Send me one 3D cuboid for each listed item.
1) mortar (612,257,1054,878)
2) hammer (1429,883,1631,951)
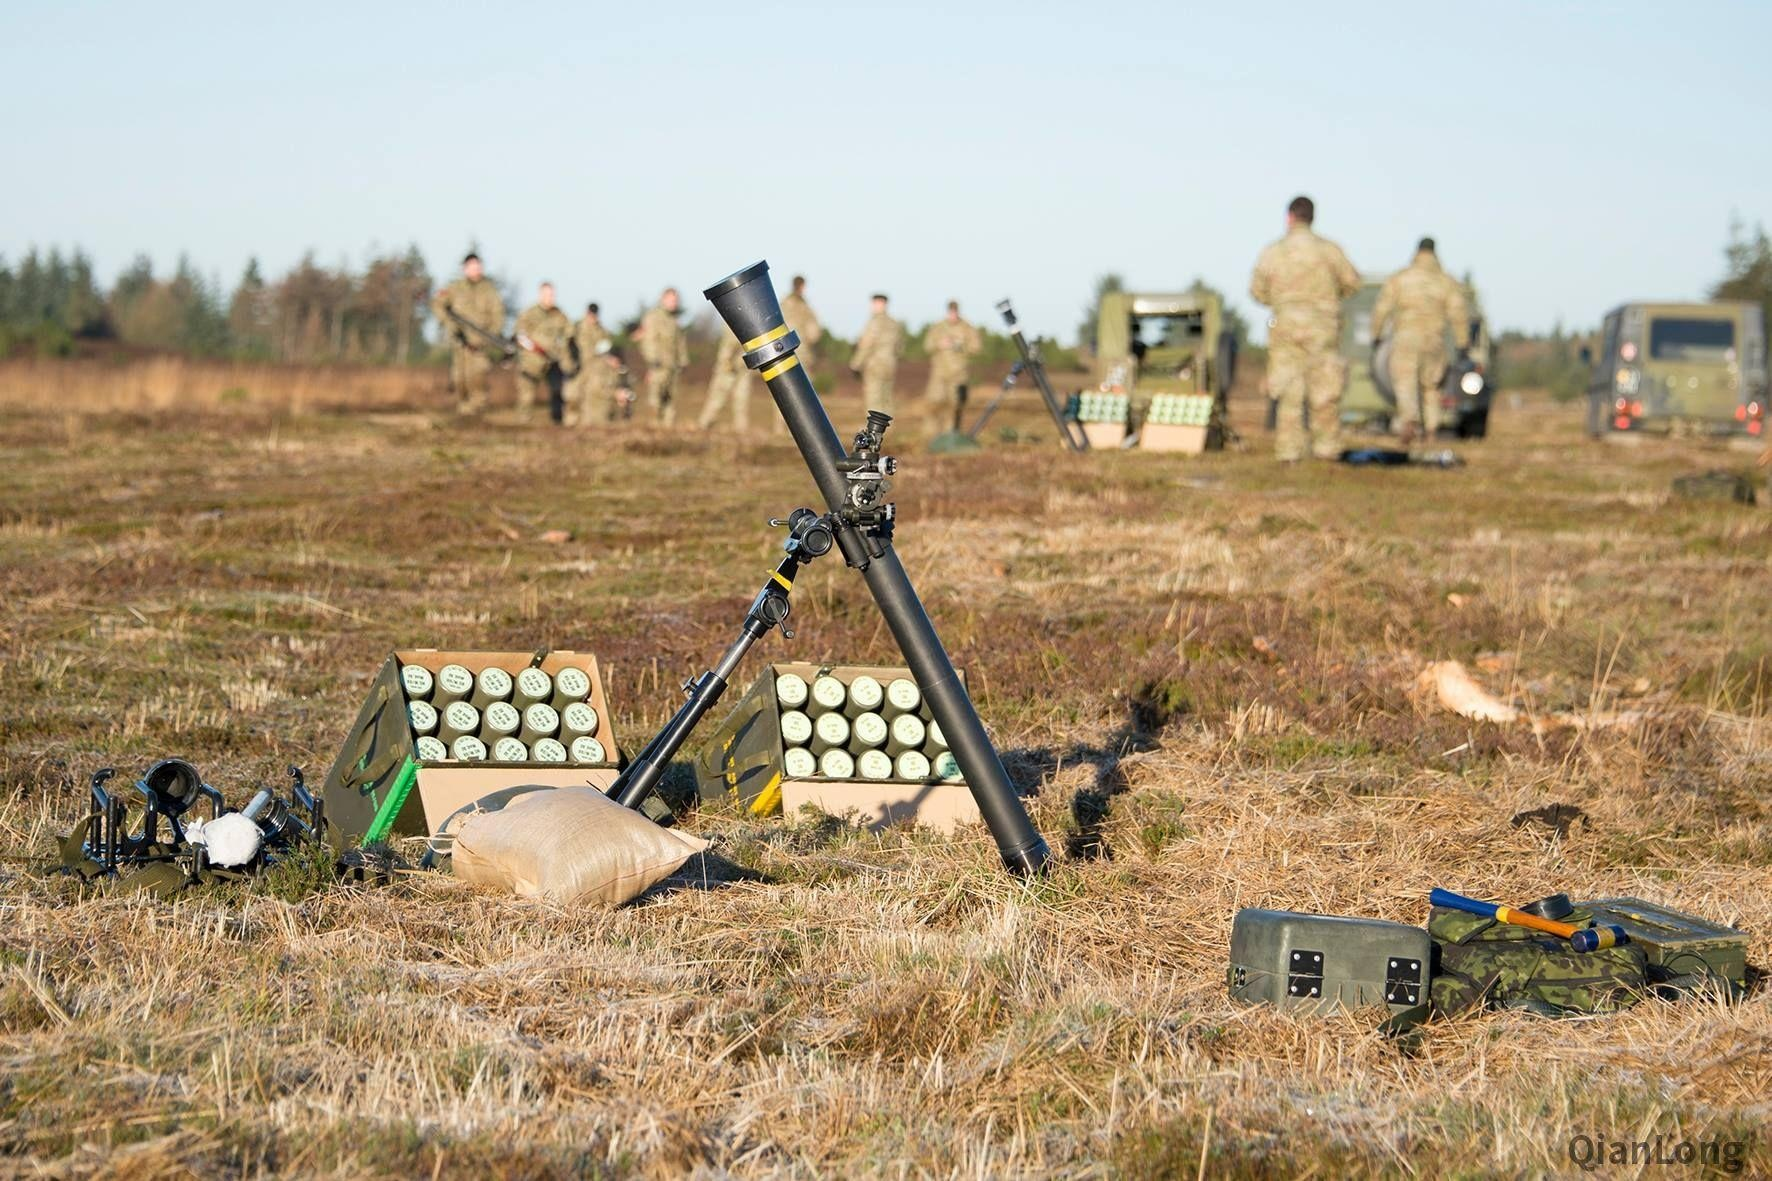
[{"bbox_3d":[-0.286,-0.267,17.103,1.894,4.384,3.472,2,-5,-11],"label":"mortar"},{"bbox_3d":[3.956,2.031,15.631,1.190,0.217,0.483,18,-9,6],"label":"hammer"}]
